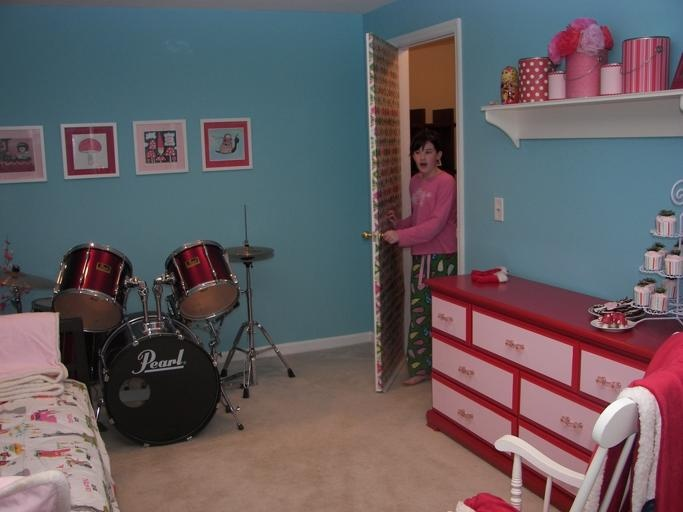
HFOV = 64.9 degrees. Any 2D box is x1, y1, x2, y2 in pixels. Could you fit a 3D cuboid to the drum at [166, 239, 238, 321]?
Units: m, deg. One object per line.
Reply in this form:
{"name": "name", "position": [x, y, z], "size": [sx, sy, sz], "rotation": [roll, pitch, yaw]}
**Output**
{"name": "drum", "position": [-0.924, 0.167, 3.544], "size": [0.386, 0.379, 0.395], "rotation": [-28, -27, -3]}

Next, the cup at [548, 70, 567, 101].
{"name": "cup", "position": [1.090, -0.862, 2.723], "size": [0.095, 0.133, 0.055], "rotation": [7, 16, 34]}

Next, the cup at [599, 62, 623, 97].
{"name": "cup", "position": [1.255, -0.830, 2.525], "size": [0.070, 0.141, 0.165], "rotation": [-5, 14, -11]}

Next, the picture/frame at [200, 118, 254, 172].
{"name": "picture/frame", "position": [-0.960, -0.922, 4.404], "size": [0.434, 0.443, 0.033], "rotation": [-1, 5, -17]}

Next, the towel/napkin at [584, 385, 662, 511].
{"name": "towel/napkin", "position": [0.861, 0.566, 1.568], "size": [0.116, 0.377, 0.061], "rotation": [5, 15, 30]}

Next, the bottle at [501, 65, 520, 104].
{"name": "bottle", "position": [0.931, -0.939, 2.958], "size": [0.093, 0.194, 0.095], "rotation": [-2, 13, 1]}

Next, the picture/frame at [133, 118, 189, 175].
{"name": "picture/frame", "position": [-1.455, -0.886, 4.279], "size": [0.426, 0.439, 0.017], "rotation": [-3, 1, -15]}
